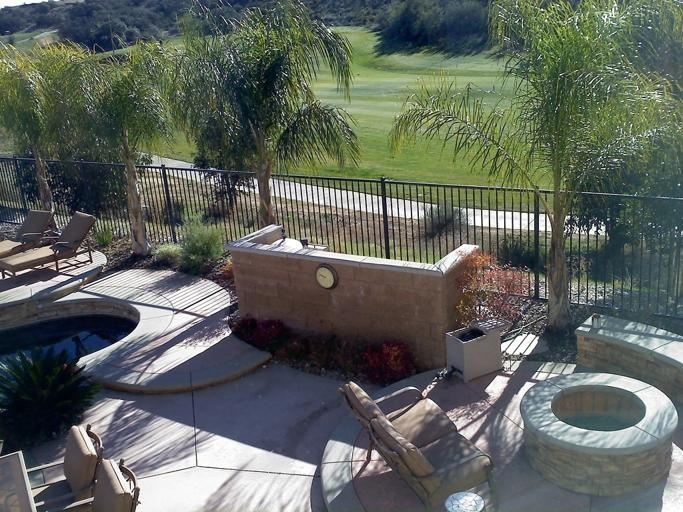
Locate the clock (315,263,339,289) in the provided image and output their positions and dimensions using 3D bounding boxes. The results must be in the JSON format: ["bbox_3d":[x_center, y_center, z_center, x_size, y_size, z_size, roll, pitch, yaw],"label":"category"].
[{"bbox_3d":[-0.246,0.330,11.472,0.427,0.419,0.123,7,11,34],"label":"clock"}]
